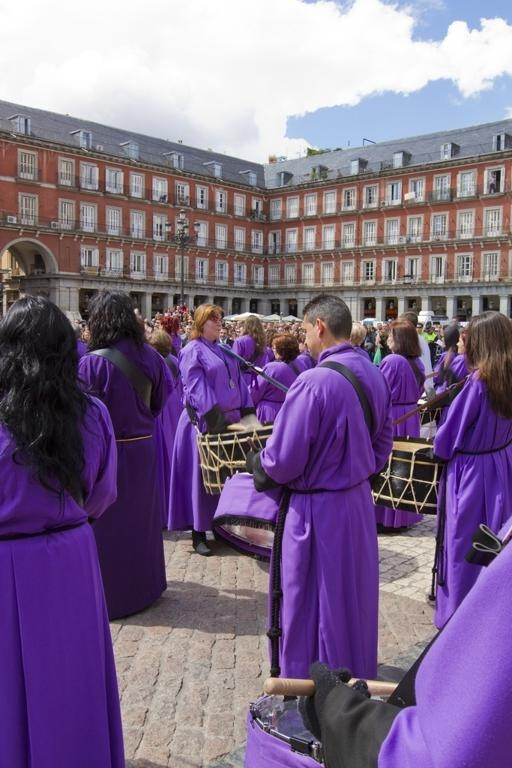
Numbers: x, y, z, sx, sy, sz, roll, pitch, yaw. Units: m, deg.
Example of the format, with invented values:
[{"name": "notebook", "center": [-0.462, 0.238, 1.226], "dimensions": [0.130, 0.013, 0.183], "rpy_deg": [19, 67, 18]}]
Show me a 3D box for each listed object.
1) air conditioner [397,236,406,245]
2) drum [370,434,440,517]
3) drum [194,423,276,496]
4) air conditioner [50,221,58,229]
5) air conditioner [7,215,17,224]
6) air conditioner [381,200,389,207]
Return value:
[{"name": "air conditioner", "center": [8.576, -8.463, 47.667], "dimensions": [0.209, 0.569, 0.635], "rpy_deg": [-2, 4, -33]}, {"name": "drum", "center": [0.727, 0.456, 4.036], "dimensions": [0.385, 0.265, 0.368], "rpy_deg": [2, 4, 0]}, {"name": "drum", "center": [-0.148, 0.376, 3.964], "dimensions": [0.375, 0.265, 0.341], "rpy_deg": [-4, -11, -1]}, {"name": "air conditioner", "center": [-9.920, -7.868, 39.930], "dimensions": [0.255, 0.345, 0.564], "rpy_deg": [1, 4, 17]}, {"name": "air conditioner", "center": [-11.373, -7.678, 37.748], "dimensions": [0.273, 0.410, 0.571], "rpy_deg": [3, 4, 32]}, {"name": "air conditioner", "center": [7.758, -10.782, 48.483], "dimensions": [0.237, 0.498, 0.636], "rpy_deg": [-3, 5, -40]}]
